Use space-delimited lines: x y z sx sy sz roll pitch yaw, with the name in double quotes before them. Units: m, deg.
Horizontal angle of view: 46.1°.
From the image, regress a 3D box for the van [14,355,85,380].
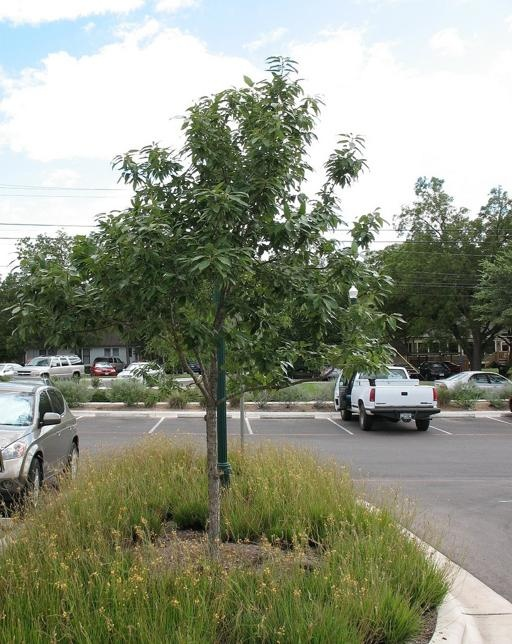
"van" -13.211 2.886 39.192 2.150 1.558 3.923 -5 -9 21
